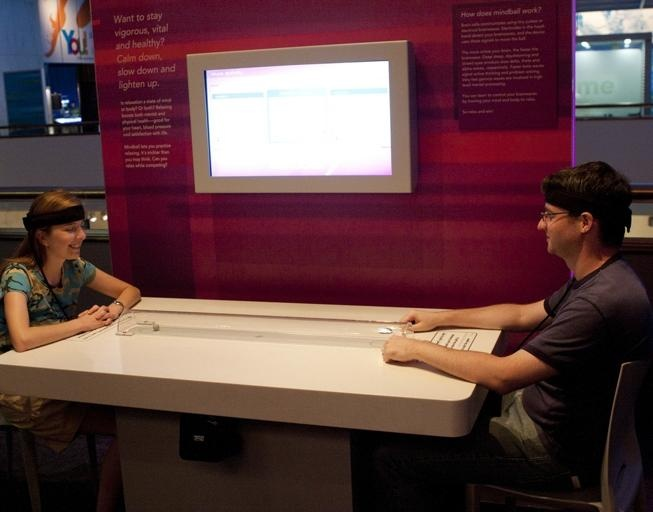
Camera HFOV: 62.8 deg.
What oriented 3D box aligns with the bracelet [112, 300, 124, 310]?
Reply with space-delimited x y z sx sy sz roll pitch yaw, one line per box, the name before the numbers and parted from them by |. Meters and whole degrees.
bracelet | -1.015 0.240 2.616 0.038 0.061 0.019 27 59 23
